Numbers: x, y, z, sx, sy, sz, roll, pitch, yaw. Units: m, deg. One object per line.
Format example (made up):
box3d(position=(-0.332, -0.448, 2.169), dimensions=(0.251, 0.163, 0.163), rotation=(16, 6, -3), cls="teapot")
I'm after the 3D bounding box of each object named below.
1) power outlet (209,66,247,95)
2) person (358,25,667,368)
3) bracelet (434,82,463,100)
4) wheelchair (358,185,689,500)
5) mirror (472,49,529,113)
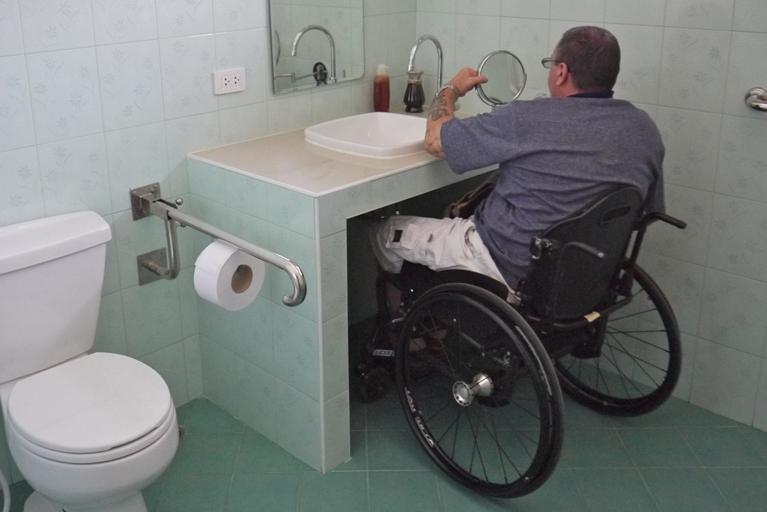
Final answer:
box3d(position=(-0.687, -0.767, 2.485), dimensions=(0.018, 0.089, 0.131), rotation=(13, 20, 40), cls="power outlet")
box3d(position=(0.581, -0.217, 2.661), dimensions=(1.161, 1.568, 0.948), rotation=(16, 19, 31), cls="person")
box3d(position=(0.296, -0.748, 2.549), dimensions=(0.081, 0.053, 0.111), rotation=(15, 35, 33), cls="bracelet")
box3d(position=(0.501, 0.210, 2.674), dimensions=(1.130, 1.205, 1.532), rotation=(-16, 28, -41), cls="wheelchair")
box3d(position=(0.541, -0.801, 2.661), dimensions=(0.263, 0.265, 0.064), rotation=(1, 10, -17), cls="mirror")
